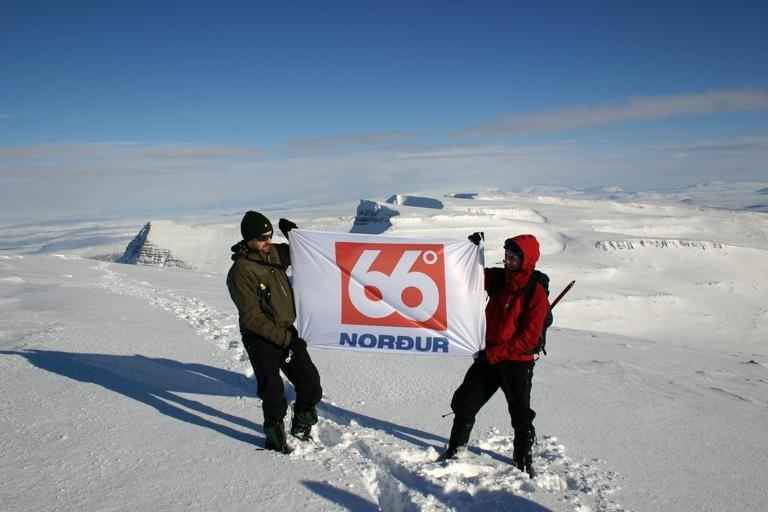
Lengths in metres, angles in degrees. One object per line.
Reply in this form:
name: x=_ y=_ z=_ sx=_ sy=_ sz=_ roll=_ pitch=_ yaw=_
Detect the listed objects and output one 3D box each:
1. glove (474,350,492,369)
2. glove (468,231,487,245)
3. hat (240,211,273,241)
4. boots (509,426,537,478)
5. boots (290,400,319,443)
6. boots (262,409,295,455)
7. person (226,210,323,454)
glove: x=1.533 y=1.638 z=8.328 sx=0.231 sy=0.246 sz=0.268 roll=-12 pitch=34 yaw=39
glove: x=1.536 y=-0.301 z=8.959 sx=0.273 sy=0.222 sz=0.102 roll=8 pitch=-7 yaw=-4
hat: x=-1.983 y=-0.462 z=8.268 sx=0.469 sy=0.478 sz=0.241 roll=-2 pitch=12 yaw=-12
boots: x=2.128 y=2.952 z=8.035 sx=0.335 sy=0.696 sz=0.389 roll=3 pitch=12 yaw=9
boots: x=-1.279 y=2.650 z=8.412 sx=0.446 sy=0.574 sz=0.232 roll=1 pitch=7 yaw=-18
boots: x=-1.628 y=2.737 z=8.127 sx=0.405 sy=0.563 sz=0.238 roll=-2 pitch=12 yaw=-10
person: x=-1.738 y=1.148 z=8.337 sx=1.217 sy=3.639 sz=1.355 roll=-5 pitch=13 yaw=-24
